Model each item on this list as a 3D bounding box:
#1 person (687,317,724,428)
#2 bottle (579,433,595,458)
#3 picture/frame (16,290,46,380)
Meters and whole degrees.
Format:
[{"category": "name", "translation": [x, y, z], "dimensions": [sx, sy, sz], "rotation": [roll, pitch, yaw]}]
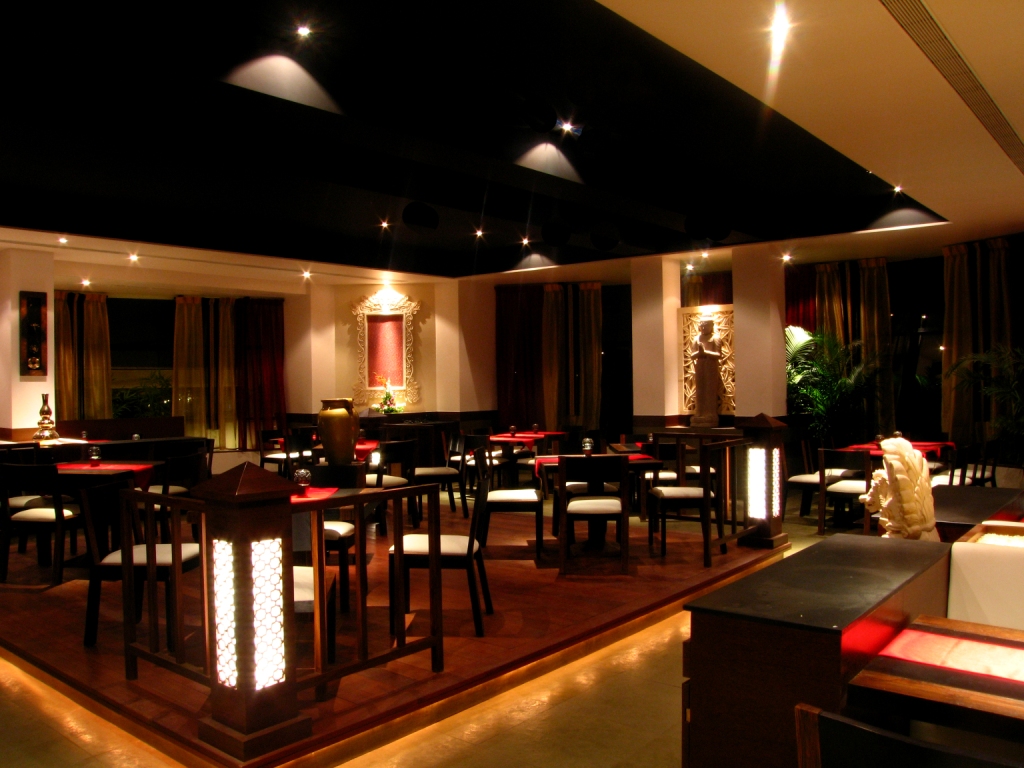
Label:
[{"category": "person", "translation": [2.369, -0.119, 9.615], "dimensions": [0.333, 1.229, 0.255], "rotation": [2, 8, 14]}, {"category": "bottle", "translation": [0.656, 0.550, 7.009], "dimensions": [0.140, 0.207, 0.144], "rotation": [5, 5, 0]}, {"category": "picture/frame", "translation": [-5.174, -0.516, 8.639], "dimensions": [0.285, 0.912, 0.046], "rotation": [-3, 17, -39]}]
